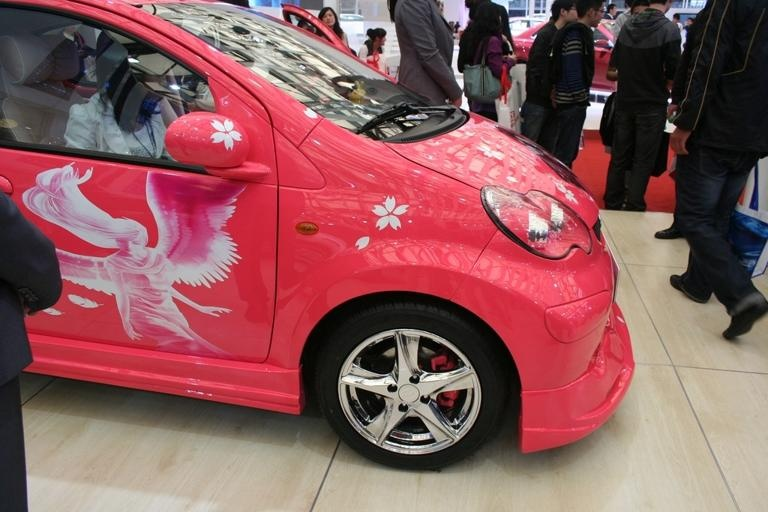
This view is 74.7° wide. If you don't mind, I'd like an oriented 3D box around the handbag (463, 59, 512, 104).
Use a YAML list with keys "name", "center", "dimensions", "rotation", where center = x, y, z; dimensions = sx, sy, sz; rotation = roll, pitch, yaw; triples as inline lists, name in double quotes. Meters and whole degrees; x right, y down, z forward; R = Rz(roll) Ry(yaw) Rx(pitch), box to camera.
- name: "handbag"
  center: [0.926, -1.619, 4.676]
  dimensions: [0.415, 0.412, 0.279]
  rotation: [-2, 32, 0]
